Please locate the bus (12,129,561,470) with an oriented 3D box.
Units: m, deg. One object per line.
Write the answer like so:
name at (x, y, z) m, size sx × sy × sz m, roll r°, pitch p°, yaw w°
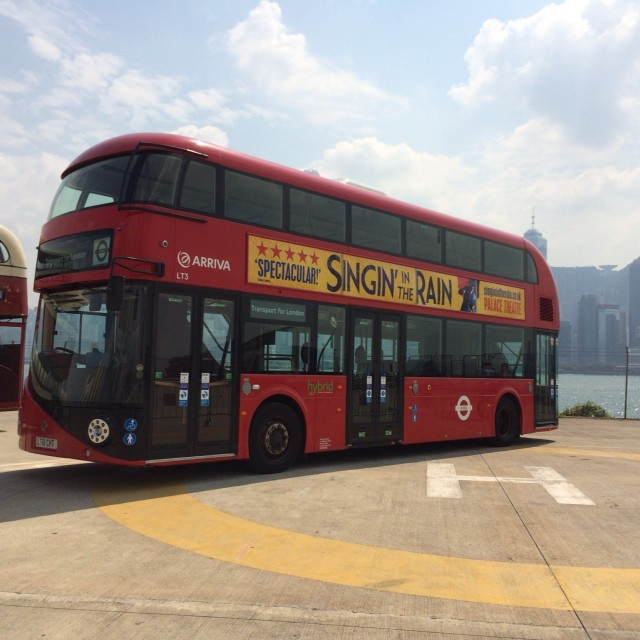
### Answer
bus at (1.139, 0.162, 11.222) m, size 12.293 × 4.929 × 2.057 m, roll 7°, pitch -9°, yaw -41°
